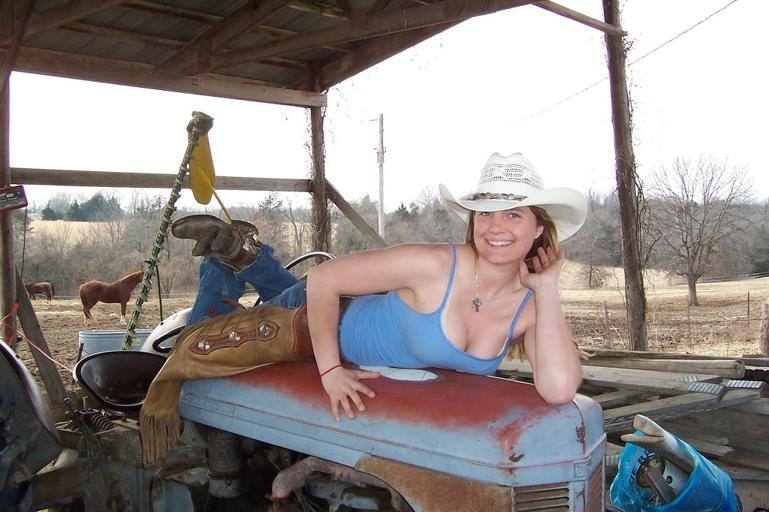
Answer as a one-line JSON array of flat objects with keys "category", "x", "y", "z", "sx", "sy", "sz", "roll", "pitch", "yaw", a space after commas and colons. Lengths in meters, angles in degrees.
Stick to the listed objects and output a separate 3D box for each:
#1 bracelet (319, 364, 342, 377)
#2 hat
[{"category": "bracelet", "x": -0.290, "y": 0.622, "z": 3.132, "sx": 0.059, "sy": 0.020, "sz": 0.080, "roll": -25, "pitch": 6, "yaw": -38}, {"category": "hat", "x": 0.709, "y": -0.439, "z": 3.428, "sx": 0.761, "sy": 0.377, "sz": 0.850, "roll": 7, "pitch": 7, "yaw": 16}]
